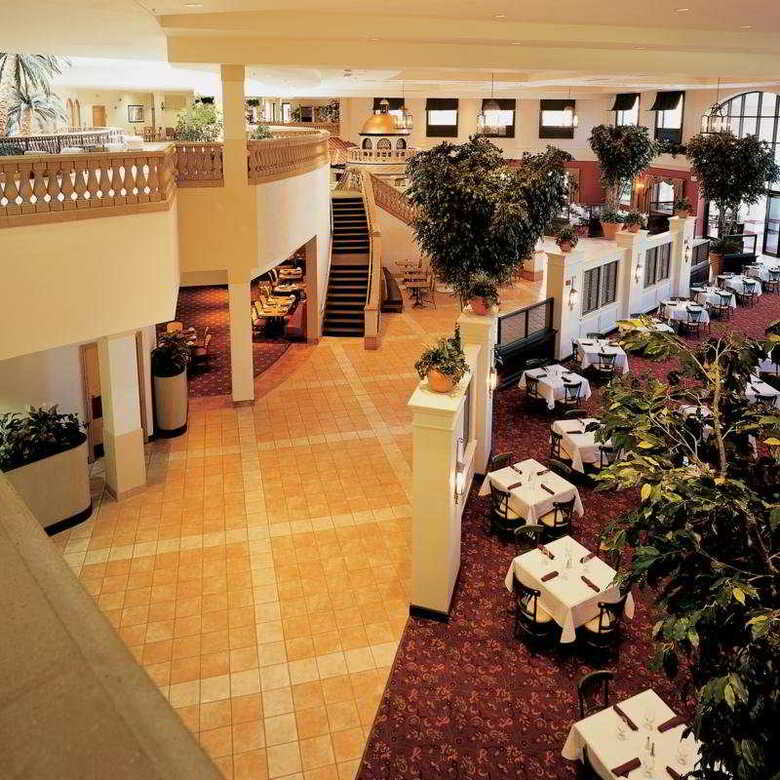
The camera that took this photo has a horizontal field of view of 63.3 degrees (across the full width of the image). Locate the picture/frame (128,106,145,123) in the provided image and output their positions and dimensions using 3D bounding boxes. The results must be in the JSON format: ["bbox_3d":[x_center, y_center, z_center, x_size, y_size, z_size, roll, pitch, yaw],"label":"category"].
[{"bbox_3d":[-9.689,-10.642,24.148,0.051,0.544,0.549,10,17,37],"label":"picture/frame"}]

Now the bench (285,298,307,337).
[{"bbox_3d":[-2.531,-1.960,16.895,0.279,0.455,1.122,5,33,-2],"label":"bench"}]

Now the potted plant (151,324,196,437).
[{"bbox_3d":[-3.921,-0.065,11.279,0.690,1.772,0.620,-1,10,-40],"label":"potted plant"}]

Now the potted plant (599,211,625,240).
[{"bbox_3d":[6.716,-5.156,19.248,0.666,0.797,0.708,9,9,22],"label":"potted plant"}]

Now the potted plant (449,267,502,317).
[{"bbox_3d":[1.316,-1.557,9.517,0.577,0.689,0.739,-1,33,0],"label":"potted plant"}]

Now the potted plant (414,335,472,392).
[{"bbox_3d":[0.578,-0.372,6.979,0.505,0.554,0.560,15,33,21],"label":"potted plant"}]

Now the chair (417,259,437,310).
[{"bbox_3d":[1.170,-3.388,19.809,0.644,1.474,1.719,5,9,2],"label":"chair"}]

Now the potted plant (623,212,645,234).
[{"bbox_3d":[6.449,-4.490,16.794,0.416,0.652,1.034,8,9,17],"label":"potted plant"}]
